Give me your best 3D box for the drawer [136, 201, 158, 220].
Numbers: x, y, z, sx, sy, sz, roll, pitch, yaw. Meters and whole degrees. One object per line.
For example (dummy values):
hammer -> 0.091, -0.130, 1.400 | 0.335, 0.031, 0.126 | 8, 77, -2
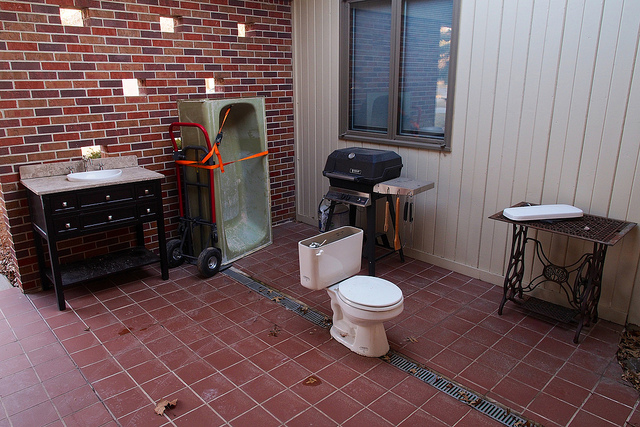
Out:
drawer -> -1.828, -0.036, 4.282 | 0.182, 0.127, 0.170 | 9, 14, 36

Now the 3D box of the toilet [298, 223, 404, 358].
toilet -> 0.242, 0.704, 3.597 | 0.623, 0.886, 0.870 | -13, 24, -26

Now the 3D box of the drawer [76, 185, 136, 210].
drawer -> -2.136, -0.169, 4.048 | 0.300, 0.097, 0.283 | 10, 16, 43

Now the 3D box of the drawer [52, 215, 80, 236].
drawer -> -2.443, 0.102, 3.911 | 0.192, 0.112, 0.182 | 10, 16, 40

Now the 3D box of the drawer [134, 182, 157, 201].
drawer -> -1.812, -0.228, 4.226 | 0.177, 0.127, 0.167 | 8, 12, 41

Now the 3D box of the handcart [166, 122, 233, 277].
handcart -> -1.388, -0.188, 4.704 | 0.725, 1.688, 0.631 | 8, 13, 30

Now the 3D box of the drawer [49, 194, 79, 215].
drawer -> -2.440, -0.095, 3.863 | 0.195, 0.136, 0.181 | 7, 13, 41

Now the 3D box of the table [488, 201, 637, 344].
table -> 2.224, 0.485, 3.838 | 0.702, 1.037, 0.905 | -22, 29, -40
